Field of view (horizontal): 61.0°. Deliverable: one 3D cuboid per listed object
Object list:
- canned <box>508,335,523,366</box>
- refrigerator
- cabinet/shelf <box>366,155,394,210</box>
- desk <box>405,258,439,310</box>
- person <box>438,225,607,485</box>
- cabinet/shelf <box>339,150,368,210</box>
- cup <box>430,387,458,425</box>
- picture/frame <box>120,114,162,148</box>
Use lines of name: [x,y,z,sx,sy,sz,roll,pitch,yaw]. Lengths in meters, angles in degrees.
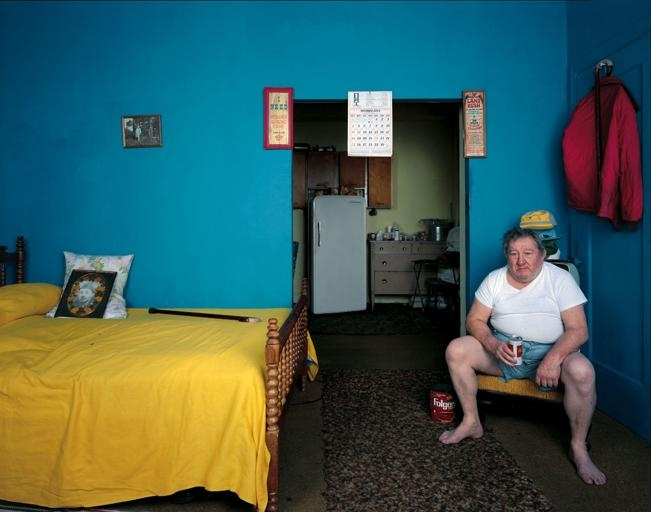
canned: [1.057,0.529,3.087,0.070,0.143,0.088,2,9,14]
refrigerator: [0.164,-0.006,6.715,0.690,1.430,0.309,-2,8,-9]
cabinet/shelf: [0.709,-0.967,7.351,0.320,0.668,0.100,-1,8,-3]
desk: [1.223,0.330,7.128,0.571,0.641,0.453,1,3,-1]
person: [1.172,0.484,3.137,0.847,1.206,1.069,-3,5,-20]
cabinet/shelf: [0.368,-1.081,7.311,0.513,0.955,0.481,-1,5,2]
cup: [0.727,0.927,3.473,0.188,0.211,0.185,1,1,0]
picture/frame: [-1.387,-0.955,4.175,0.245,0.212,0.020,0,3,-2]
